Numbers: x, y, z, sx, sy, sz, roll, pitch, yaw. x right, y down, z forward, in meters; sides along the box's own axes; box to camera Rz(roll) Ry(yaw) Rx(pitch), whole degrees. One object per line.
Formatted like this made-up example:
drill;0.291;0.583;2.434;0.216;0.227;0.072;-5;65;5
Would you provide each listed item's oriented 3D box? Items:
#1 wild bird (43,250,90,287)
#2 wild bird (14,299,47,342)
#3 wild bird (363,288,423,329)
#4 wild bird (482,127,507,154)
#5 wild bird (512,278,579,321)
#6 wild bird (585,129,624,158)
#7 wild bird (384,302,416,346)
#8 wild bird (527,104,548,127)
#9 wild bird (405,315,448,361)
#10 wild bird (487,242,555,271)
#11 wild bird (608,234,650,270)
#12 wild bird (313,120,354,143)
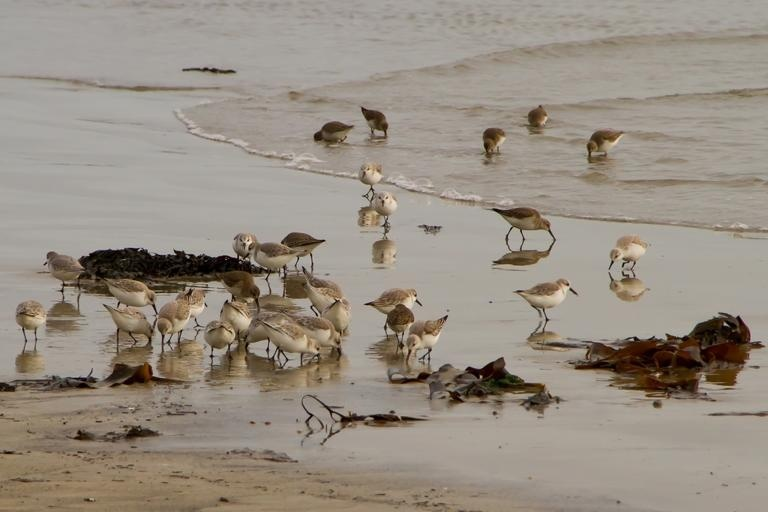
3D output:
wild bird;-5.948;0.225;20.285;1.047;0.502;0.476;5;19;30
wild bird;-6.082;1.051;18.220;0.438;0.442;0.678;-6;17;-12
wild bird;0.138;0.850;19.131;1.048;0.473;0.438;4;-7;-25
wild bird;3.089;-3.305;30.236;0.606;0.561;0.867;4;48;23
wild bird;2.925;0.754;19.534;1.316;0.612;0.514;3;-7;-22
wild bird;6.218;-3.223;30.193;0.801;0.817;1.405;10;21;11
wild bird;0.303;1.167;18.591;0.564;0.581;0.838;3;-13;6
wild bird;4.767;-4.384;33.162;0.638;0.511;0.849;1;31;5
wild bird;0.711;1.343;18.152;0.553;0.602;1.022;7;20;4
wild bird;2.944;0.051;22.532;1.639;0.542;0.424;-2;20;-3
wild bird;5.010;-0.096;21.859;0.510;0.490;1.096;11;34;40
wild bird;-1.539;-3.684;31.814;1.006;0.650;0.946;2;21;-6
